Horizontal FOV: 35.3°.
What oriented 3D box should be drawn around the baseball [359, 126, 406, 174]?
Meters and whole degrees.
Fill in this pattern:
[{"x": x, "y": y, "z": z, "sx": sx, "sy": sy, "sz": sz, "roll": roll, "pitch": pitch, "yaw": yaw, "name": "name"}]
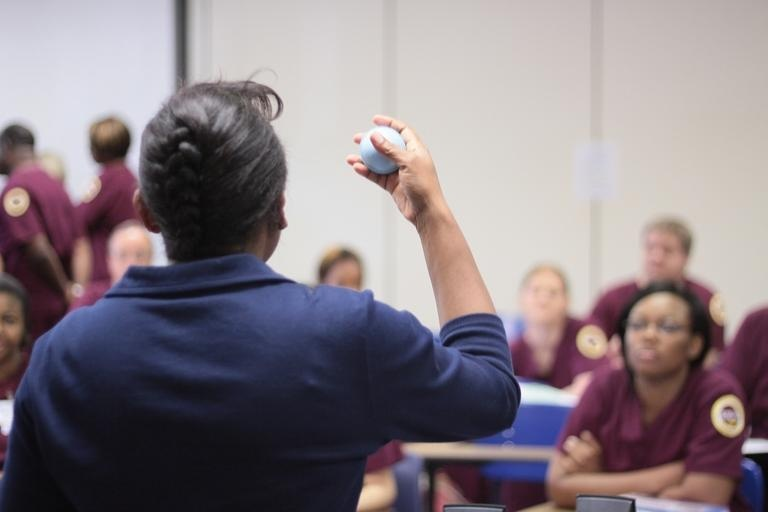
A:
[{"x": 0.002, "y": -0.333, "z": 3.842, "sx": 0.148, "sy": 0.153, "sz": 0.143, "roll": 2, "pitch": 13, "yaw": 7, "name": "baseball"}]
